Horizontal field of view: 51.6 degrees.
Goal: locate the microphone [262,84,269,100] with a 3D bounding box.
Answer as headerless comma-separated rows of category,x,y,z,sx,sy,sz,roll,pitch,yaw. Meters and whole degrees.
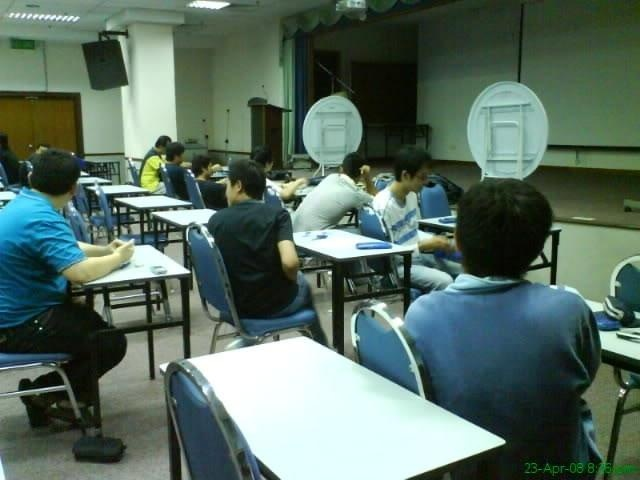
microphone,-1.078,-2.824,12.683,0.085,0.298,0.413,-6,15,-17

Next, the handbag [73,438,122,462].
handbag,-1.105,1.035,3.299,0.171,0.058,0.138,4,6,-8

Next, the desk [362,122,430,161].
desk,1.684,-2.243,15.391,1.635,0.981,0.520,-2,4,-27

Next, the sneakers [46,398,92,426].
sneakers,-1.320,0.907,3.488,0.183,0.078,0.192,0,-5,30
